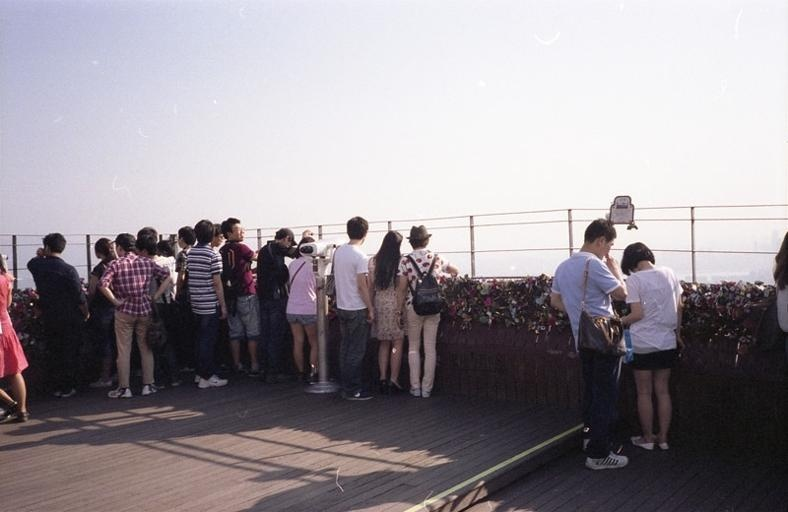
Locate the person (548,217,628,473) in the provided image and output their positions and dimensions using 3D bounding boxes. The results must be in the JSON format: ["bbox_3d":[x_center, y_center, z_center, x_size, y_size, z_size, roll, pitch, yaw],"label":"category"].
[{"bbox_3d":[2.067,0.894,6.086,0.761,2.538,0.721,0,8,1],"label":"person"}]

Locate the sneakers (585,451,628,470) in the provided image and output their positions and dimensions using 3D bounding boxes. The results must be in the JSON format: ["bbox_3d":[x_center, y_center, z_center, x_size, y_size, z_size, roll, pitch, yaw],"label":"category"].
[{"bbox_3d":[2.152,2.096,6.002,0.422,0.209,0.171,-7,8,0],"label":"sneakers"}]

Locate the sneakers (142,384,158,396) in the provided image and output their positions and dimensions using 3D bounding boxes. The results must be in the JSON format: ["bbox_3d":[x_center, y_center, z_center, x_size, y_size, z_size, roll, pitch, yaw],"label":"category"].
[{"bbox_3d":[-3.362,1.834,8.001,0.094,0.115,0.258,2,4,27],"label":"sneakers"}]

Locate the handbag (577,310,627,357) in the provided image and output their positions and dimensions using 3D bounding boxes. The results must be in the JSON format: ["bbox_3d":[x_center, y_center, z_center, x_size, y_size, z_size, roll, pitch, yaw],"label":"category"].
[{"bbox_3d":[2.041,0.780,5.782,0.394,0.429,0.205,1,-16,1],"label":"handbag"}]

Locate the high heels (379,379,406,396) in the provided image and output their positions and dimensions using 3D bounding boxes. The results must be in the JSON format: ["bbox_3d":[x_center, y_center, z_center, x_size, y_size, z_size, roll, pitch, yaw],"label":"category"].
[{"bbox_3d":[-0.034,1.781,7.906,0.327,0.145,0.165,-2,0,-41],"label":"high heels"}]

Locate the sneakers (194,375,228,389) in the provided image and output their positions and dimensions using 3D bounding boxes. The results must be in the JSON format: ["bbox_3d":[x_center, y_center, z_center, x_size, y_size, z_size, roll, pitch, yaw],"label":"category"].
[{"bbox_3d":[-2.621,1.780,8.342,0.452,0.206,0.164,0,1,-21],"label":"sneakers"}]

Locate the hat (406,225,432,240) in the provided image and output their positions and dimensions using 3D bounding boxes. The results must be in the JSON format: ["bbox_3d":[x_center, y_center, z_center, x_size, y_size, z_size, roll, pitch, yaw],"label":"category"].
[{"bbox_3d":[0.312,-0.296,7.467,0.296,0.146,0.364,0,7,1],"label":"hat"}]
